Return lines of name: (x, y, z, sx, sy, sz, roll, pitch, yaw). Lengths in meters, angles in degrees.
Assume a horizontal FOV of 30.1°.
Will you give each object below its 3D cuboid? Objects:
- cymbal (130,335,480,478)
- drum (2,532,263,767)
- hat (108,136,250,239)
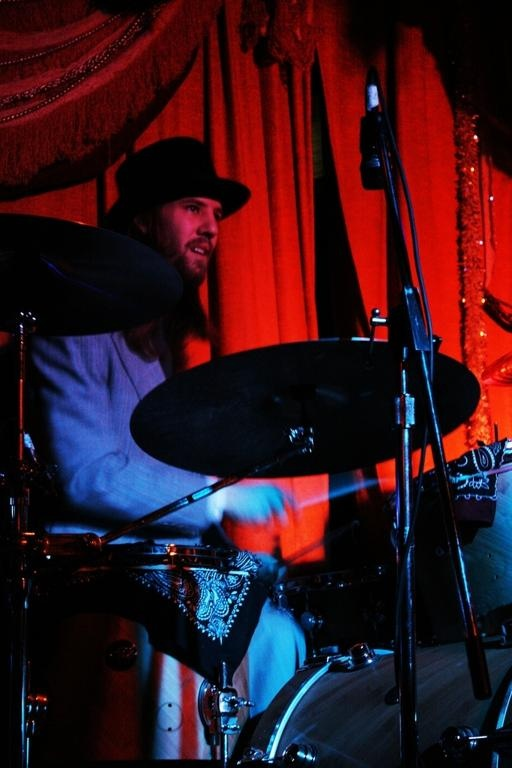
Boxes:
cymbal: (0.011, 0.091, 2.033, 0.567, 0.208, 0.604, -7, -11, 8)
drum: (-0.219, 0.496, 1.904, 0.492, 0.426, 0.275, -5, -10, 0)
hat: (-0.278, -0.618, 3.020, 0.478, 0.271, 0.358, -20, -2, -8)
